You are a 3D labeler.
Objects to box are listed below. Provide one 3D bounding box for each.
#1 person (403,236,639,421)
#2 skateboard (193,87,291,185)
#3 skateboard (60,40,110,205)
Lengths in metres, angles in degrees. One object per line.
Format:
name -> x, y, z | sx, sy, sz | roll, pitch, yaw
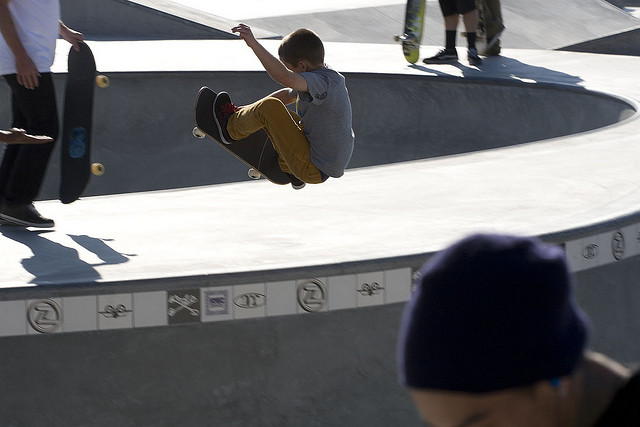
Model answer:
person -> 1.049, 0.647, 6.027 | 1.231, 0.717, 0.730 | 12, 46, -2
skateboard -> -0.648, -0.568, 8.997 | 1.003, 0.159, 0.441 | 30, 79, -18
skateboard -> -1.769, -0.686, 8.740 | 0.350, 1.208, 0.195 | 6, 6, 10
